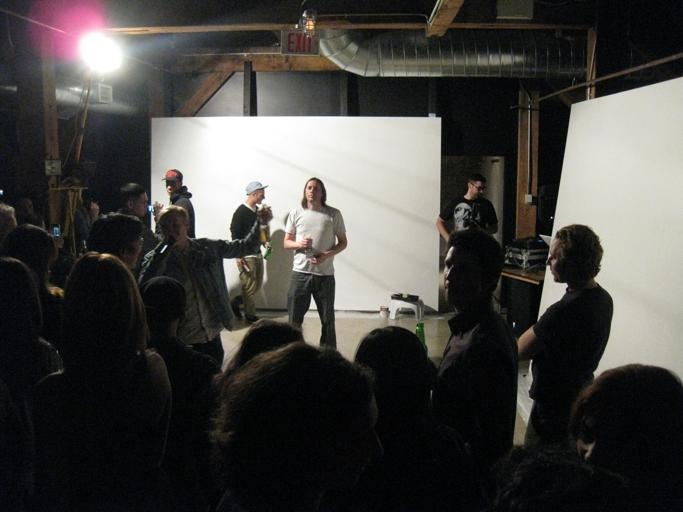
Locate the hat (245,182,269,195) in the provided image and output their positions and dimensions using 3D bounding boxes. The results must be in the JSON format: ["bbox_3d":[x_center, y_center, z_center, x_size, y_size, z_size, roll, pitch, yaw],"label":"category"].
[{"bbox_3d":[-0.953,-0.777,6.338,0.259,0.142,0.181,-15,8,-9],"label":"hat"}]

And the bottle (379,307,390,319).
[{"bbox_3d":[0.546,0.712,7.010,0.101,0.116,0.109,1,-4,-6],"label":"bottle"}]

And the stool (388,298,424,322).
[{"bbox_3d":[0.763,0.624,6.741,0.282,0.194,0.293,1,-3,28],"label":"stool"}]
